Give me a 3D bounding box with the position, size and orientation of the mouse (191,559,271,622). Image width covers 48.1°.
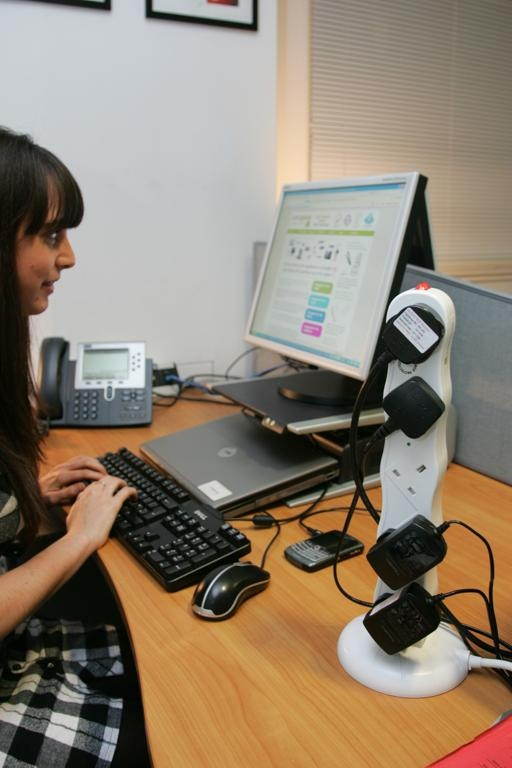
[{"bbox_3d":[-0.023,0.216,0.623,0.051,0.038,0.104,0,8,37],"label":"mouse"}]

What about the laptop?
[{"bbox_3d":[-0.041,0.120,0.922,0.206,0.023,0.261,-19,28,-35],"label":"laptop"}]

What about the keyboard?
[{"bbox_3d":[-0.133,0.182,0.800,0.105,0.050,0.364,-16,16,-26],"label":"keyboard"}]

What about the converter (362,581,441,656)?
[{"bbox_3d":[0.118,0.199,0.474,0.059,0.070,0.023,5,13,18],"label":"converter"}]

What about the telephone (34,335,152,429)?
[{"bbox_3d":[-0.350,-0.014,1.250,0.264,0.090,0.244,5,42,-7],"label":"telephone"}]
